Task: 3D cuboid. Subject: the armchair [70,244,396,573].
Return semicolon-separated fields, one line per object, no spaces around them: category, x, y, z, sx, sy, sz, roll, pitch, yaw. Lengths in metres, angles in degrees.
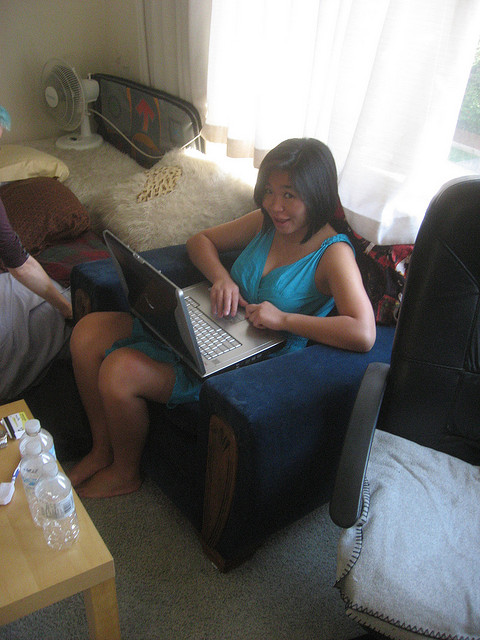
armchair;0.078;0.051;1.505;0.834;0.908;0.992;-28;48;-36

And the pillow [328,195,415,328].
pillow;0.421;-0.166;1.322;0.121;0.363;0.314;-11;28;-43

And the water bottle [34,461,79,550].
water bottle;-0.303;0.296;0.721;0.048;0.172;0.057;3;31;-3

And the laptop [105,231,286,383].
laptop;-0.137;-0.102;1.229;0.304;0.295;0.435;-27;37;-25

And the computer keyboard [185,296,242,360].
computer keyboard;-0.075;0.036;1.256;0.104;0.014;0.360;-23;38;-9

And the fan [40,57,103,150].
fan;-1.144;-1.437;2.956;0.426;0.540;0.354;23;39;22
